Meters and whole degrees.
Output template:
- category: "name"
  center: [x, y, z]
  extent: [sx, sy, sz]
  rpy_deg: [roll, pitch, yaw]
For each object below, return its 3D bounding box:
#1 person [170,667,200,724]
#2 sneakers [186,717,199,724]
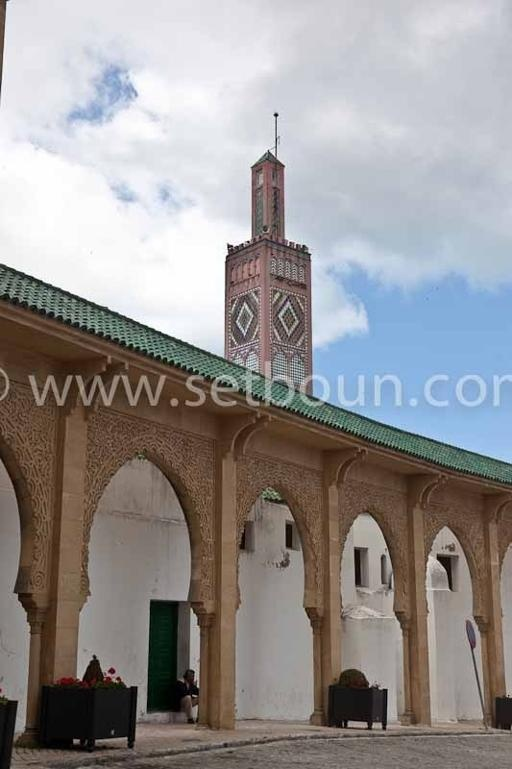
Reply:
- category: "person"
  center: [-1.133, 5.025, 13.985]
  extent: [0.371, 0.822, 0.574]
  rpy_deg: [3, -19, -6]
- category: "sneakers"
  center: [-1.007, 5.313, 13.652]
  extent: [0.148, 0.064, 0.622]
  rpy_deg: [4, -21, -7]
